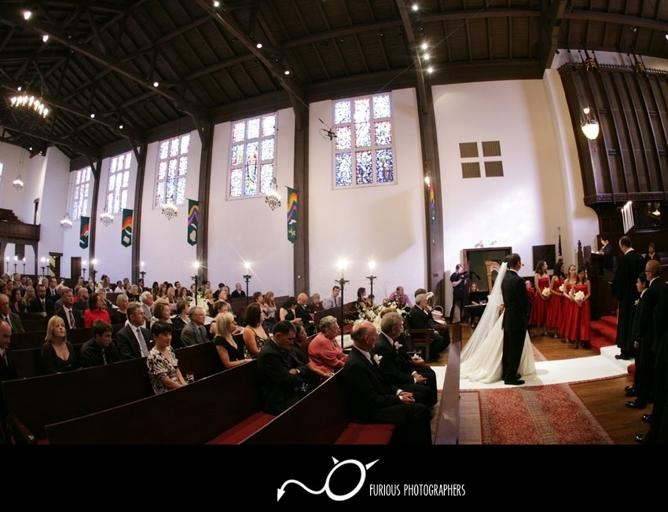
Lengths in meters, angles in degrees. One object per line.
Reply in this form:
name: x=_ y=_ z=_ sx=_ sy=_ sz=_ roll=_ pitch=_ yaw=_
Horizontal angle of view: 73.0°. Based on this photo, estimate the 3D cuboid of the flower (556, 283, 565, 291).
flower: x=4.648 y=0.641 z=9.263 sx=0.117 sy=0.146 sz=0.085 roll=14 pitch=-11 yaw=15

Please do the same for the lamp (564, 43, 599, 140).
lamp: x=6.781 y=-4.492 z=12.386 sx=0.950 sy=2.416 sz=0.873 roll=-2 pitch=-2 yaw=-27

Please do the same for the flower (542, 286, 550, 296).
flower: x=4.578 y=0.774 z=9.732 sx=0.115 sy=0.154 sz=0.147 roll=-1 pitch=-6 yaw=28

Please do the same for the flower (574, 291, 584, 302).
flower: x=4.677 y=0.773 z=8.619 sx=0.122 sy=0.190 sz=0.094 roll=15 pitch=-10 yaw=44

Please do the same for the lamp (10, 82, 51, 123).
lamp: x=-7.569 y=-3.847 z=11.218 sx=0.671 sy=1.021 sz=0.994 roll=-2 pitch=-1 yaw=-23

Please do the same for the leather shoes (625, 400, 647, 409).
leather shoes: x=4.033 y=1.962 z=6.024 sx=0.181 sy=0.089 sz=0.098 roll=4 pitch=4 yaw=42

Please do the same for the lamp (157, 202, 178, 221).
lamp: x=-6.011 y=-1.622 z=16.407 sx=0.565 sy=0.916 sz=0.624 roll=6 pitch=3 yaw=21

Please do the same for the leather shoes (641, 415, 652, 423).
leather shoes: x=3.955 y=2.064 z=5.715 sx=0.092 sy=0.064 sz=0.132 roll=-5 pitch=-9 yaw=25

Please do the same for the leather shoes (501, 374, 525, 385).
leather shoes: x=2.800 y=1.905 z=7.062 sx=0.283 sy=0.240 sz=0.144 roll=-3 pitch=-5 yaw=4
